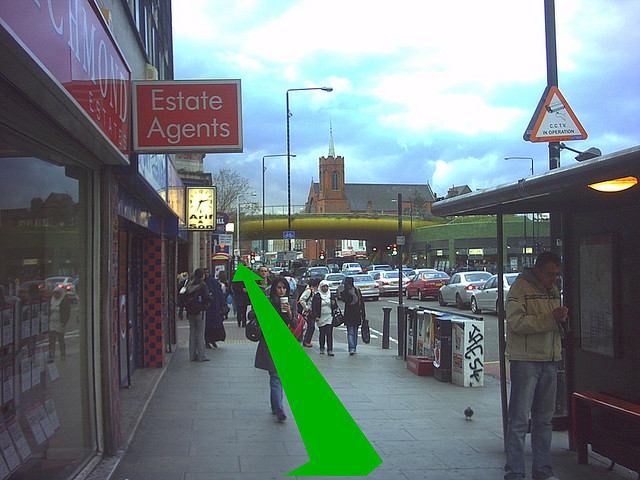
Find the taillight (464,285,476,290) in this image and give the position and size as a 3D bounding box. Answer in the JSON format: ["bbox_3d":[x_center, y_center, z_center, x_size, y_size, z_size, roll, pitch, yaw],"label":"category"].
[{"bbox_3d":[5.755,1.822,24.743,0.481,0.173,0.133,-5,-5,38],"label":"taillight"}]

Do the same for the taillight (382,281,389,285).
[{"bbox_3d":[3.621,2.409,36.067,0.281,0.183,0.149,-2,-3,5],"label":"taillight"}]

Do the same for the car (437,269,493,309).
[{"bbox_3d":[5.771,1.972,25.917,1.052,0.850,2.444,-2,2,-8],"label":"car"}]

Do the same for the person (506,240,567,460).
[{"bbox_3d":[2.307,1.272,6.925,0.603,2.292,1.239,-3,-3,18],"label":"person"}]

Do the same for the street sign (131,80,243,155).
[{"bbox_3d":[-1.596,-1.456,7.684,1.265,0.955,0.192,-2,-15,-10],"label":"street sign"}]

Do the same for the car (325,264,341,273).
[{"bbox_3d":[1.027,2.371,53.511,0.836,0.700,2.015,-1,-5,-4],"label":"car"}]

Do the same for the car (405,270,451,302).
[{"bbox_3d":[5.121,2.261,31.476,1.031,0.871,2.491,-1,1,-7],"label":"car"}]

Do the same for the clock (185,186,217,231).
[{"bbox_3d":[-3.211,-0.847,17.200,1.033,1.596,0.177,0,-14,-5],"label":"clock"}]

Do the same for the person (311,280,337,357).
[{"bbox_3d":[0.088,1.822,14.866,0.590,1.670,0.998,-2,-3,-1],"label":"person"}]

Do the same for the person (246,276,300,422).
[{"bbox_3d":[-0.657,1.497,9.133,0.735,1.966,0.864,-1,-3,-2],"label":"person"}]

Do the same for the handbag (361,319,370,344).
[{"bbox_3d":[0.982,1.988,13.993,0.128,0.480,0.388,-2,-3,10],"label":"handbag"}]

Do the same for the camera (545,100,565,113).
[{"bbox_3d":[3.227,-1.839,8.844,0.233,0.139,0.072,-15,-35,-15],"label":"camera"}]

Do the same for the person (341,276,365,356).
[{"bbox_3d":[0.740,1.720,14.589,0.507,1.804,1.106,-2,-3,2],"label":"person"}]
